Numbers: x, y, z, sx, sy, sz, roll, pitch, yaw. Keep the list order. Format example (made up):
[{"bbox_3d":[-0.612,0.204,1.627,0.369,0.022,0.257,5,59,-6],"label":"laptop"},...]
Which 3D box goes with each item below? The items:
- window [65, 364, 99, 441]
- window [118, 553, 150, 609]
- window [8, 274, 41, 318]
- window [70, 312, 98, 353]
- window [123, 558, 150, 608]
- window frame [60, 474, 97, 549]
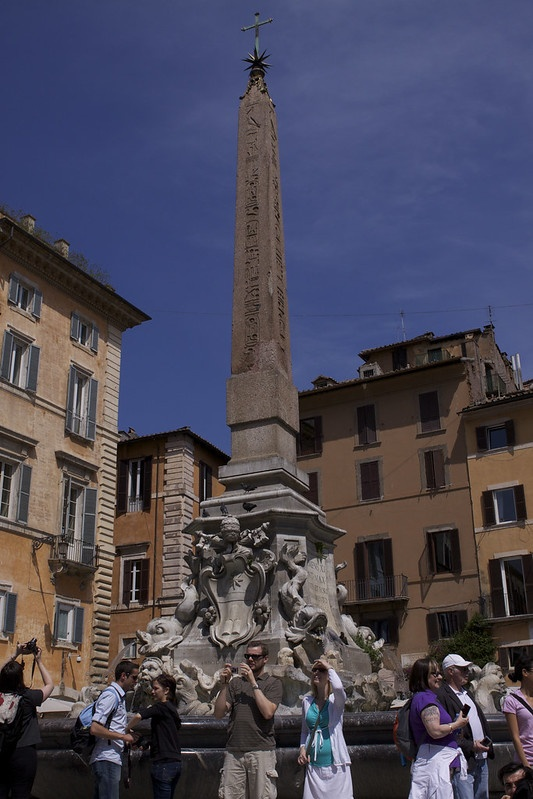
[{"bbox_3d":[-5.510,0.155,24.179,0.308,2.276,1.573,-13,-28,23],"label":"window"},{"bbox_3d":[-4.580,6.418,28.432,1.526,2.112,0.245,-11,-24,20],"label":"window"},{"bbox_3d":[-6.771,-2.866,22.702,0.172,0.973,1.088,-17,-34,25],"label":"window"},{"bbox_3d":[-5.638,-2.047,25.033,0.146,0.798,1.136,-12,-28,23],"label":"window"},{"bbox_3d":[-4.503,6.454,28.376,1.320,2.114,0.250,-11,-21,22],"label":"window"},{"bbox_3d":[-5.328,3.214,23.105,0.519,1.885,1.325,-9,-20,23],"label":"window frame"}]
